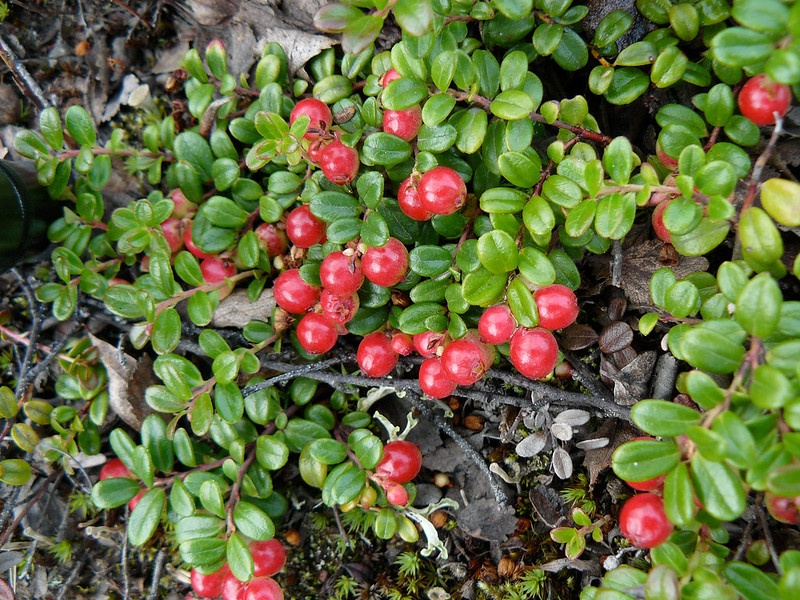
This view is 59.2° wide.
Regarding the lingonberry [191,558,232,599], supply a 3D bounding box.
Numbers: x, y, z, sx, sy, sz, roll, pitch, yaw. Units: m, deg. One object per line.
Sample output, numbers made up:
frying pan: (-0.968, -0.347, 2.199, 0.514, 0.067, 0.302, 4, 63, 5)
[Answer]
lingonberry: (-1.163, 1.742, 4.373, 0.179, 0.137, 0.258, -7, 105, 7)
